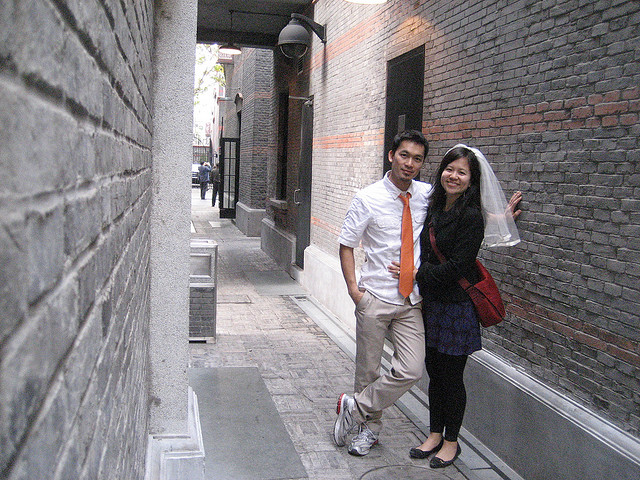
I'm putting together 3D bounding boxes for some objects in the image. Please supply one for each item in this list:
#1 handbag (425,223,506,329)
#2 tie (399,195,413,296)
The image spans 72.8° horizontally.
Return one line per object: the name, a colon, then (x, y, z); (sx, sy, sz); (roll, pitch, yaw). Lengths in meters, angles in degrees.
handbag: (1.297, 0.313, 3.831); (0.352, 0.906, 0.666); (-19, 7, 16)
tie: (0.741, 0.030, 3.736); (0.146, 0.811, 0.291); (3, 8, 10)
